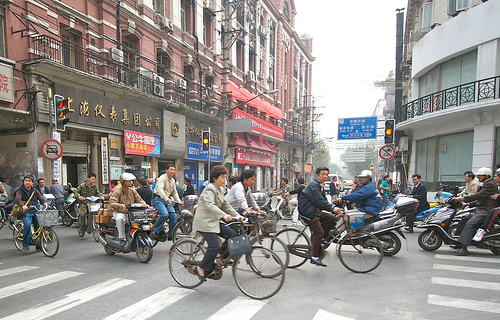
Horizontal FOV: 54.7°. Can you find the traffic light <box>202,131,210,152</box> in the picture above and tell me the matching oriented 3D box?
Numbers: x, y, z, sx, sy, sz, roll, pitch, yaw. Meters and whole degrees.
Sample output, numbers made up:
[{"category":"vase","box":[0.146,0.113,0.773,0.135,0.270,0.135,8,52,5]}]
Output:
[{"category":"traffic light","box":[-2.464,-1.057,27.267,0.344,1.162,0.602,-4,-3,4]}]

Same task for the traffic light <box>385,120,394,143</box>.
[{"category":"traffic light","box":[7.184,-1.478,25.060,0.438,1.219,0.824,-4,-3,17]}]

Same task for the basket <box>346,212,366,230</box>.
[{"category":"basket","box":[3.723,2.186,17.015,0.654,0.534,0.522,0,-11,-1]}]

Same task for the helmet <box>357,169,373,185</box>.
[{"category":"helmet","box":[4.238,0.646,17.998,0.599,0.566,0.462,1,-2,-32]}]

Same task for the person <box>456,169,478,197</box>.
[{"category":"person","box":[9.056,0.937,19.964,0.958,1.374,0.981,2,3,19]}]

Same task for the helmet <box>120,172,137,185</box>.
[{"category":"helmet","box":[-4.559,0.692,18.059,0.491,0.383,0.392,6,8,12]}]

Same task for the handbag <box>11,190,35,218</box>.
[{"category":"handbag","box":[-8.415,1.628,17.927,0.792,0.936,0.402,-2,-3,-21]}]

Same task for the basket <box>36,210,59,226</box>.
[{"category":"basket","box":[-7.352,2.112,17.630,0.520,0.461,0.661,-4,-11,13]}]

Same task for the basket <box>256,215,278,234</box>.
[{"category":"basket","box":[0.611,2.192,16.556,0.493,0.545,0.623,-1,-11,1]}]

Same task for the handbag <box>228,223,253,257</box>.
[{"category":"handbag","box":[-0.411,2.472,15.257,0.825,1.116,0.286,-13,12,-18]}]

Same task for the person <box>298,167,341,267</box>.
[{"category":"person","box":[2.399,1.990,16.880,1.301,3.498,0.822,-4,-3,12]}]

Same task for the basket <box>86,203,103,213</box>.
[{"category":"basket","box":[-6.329,1.936,19.742,0.517,0.385,0.592,-2,-4,-20]}]

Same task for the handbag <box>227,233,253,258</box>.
[{"category":"handbag","box":[-0.342,2.709,15.253,0.667,0.641,0.223,-15,-8,9]}]
